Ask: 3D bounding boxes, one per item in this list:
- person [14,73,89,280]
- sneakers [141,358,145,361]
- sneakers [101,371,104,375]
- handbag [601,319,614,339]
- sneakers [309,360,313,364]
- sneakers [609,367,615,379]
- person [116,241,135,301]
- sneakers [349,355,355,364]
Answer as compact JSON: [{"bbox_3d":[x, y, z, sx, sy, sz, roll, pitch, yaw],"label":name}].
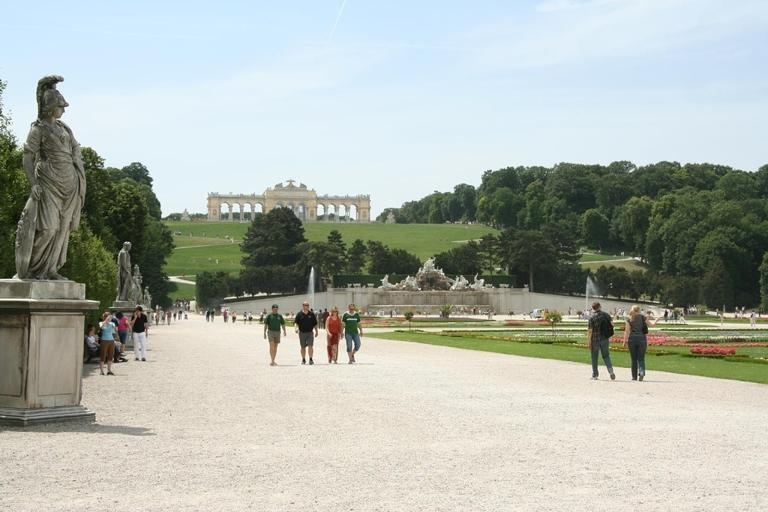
[{"bbox_3d":[-6.344,-1.464,20.901,1.315,3.819,0.520,-3,5,-41],"label":"person"},{"bbox_3d":[-7.022,3.013,32.265,0.084,0.086,0.217,1,2,1],"label":"sneakers"},{"bbox_3d":[-7.175,2.976,28.149,0.072,0.101,0.111,1,-7,-7],"label":"sneakers"},{"bbox_3d":[5.481,1.784,27.154,0.193,0.508,0.459,3,5,36],"label":"handbag"},{"bbox_3d":[-2.030,2.978,31.025,0.092,0.132,0.089,-1,-14,4],"label":"sneakers"},{"bbox_3d":[5.535,2.859,26.990,0.105,0.286,0.126,-20,-6,4],"label":"sneakers"},{"bbox_3d":[-9.504,0.594,40.478,0.459,2.201,1.562,-1,4,-11],"label":"person"},{"bbox_3d":[-0.900,2.940,31.254,0.131,0.241,0.260,1,-16,-5],"label":"sneakers"}]
